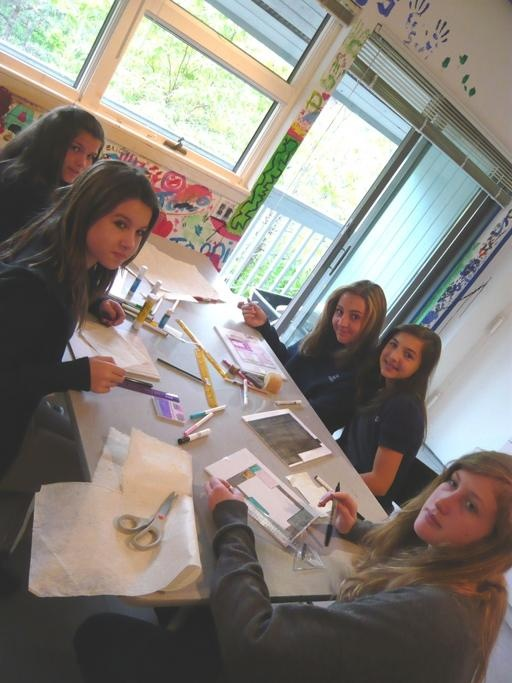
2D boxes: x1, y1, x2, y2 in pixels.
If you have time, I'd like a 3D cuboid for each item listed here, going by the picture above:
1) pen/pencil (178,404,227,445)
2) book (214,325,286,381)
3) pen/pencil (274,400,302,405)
[{"bbox_3d":[-0.133,0.198,1.245,0.026,0.026,0.228,39,30,9],"label":"pen/pencil"},{"bbox_3d":[-0.032,0.032,1.817,0.188,0.013,0.316,35,6,31],"label":"book"},{"bbox_3d":[0.098,0.199,1.637,0.088,0.015,0.014,-3,35,-30],"label":"pen/pencil"}]
